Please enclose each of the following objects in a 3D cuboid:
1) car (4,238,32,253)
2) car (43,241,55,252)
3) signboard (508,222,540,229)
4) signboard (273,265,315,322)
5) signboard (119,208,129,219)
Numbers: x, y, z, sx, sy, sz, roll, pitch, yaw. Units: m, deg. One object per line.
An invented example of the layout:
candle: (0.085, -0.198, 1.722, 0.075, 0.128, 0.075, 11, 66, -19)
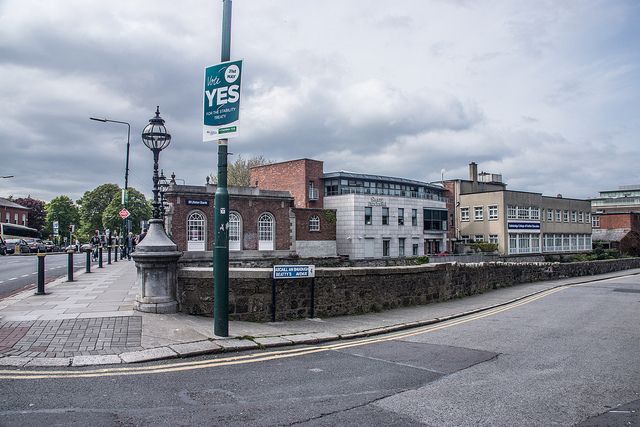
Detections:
car: (-29.561, 3.143, 49.692, 1.276, 0.864, 2.402, -1, -7, -1)
car: (-31.043, 3.846, 58.460, 1.367, 1.067, 3.055, 1, 0, -31)
signboard: (23.573, 1.453, 59.134, 6.517, 1.029, 0.208, -3, 8, -38)
signboard: (-0.918, 2.643, 16.813, 1.716, 1.827, 0.181, 4, -7, -29)
signboard: (-14.125, 0.026, 36.872, 0.378, 0.663, 1.755, 0, 6, -17)
